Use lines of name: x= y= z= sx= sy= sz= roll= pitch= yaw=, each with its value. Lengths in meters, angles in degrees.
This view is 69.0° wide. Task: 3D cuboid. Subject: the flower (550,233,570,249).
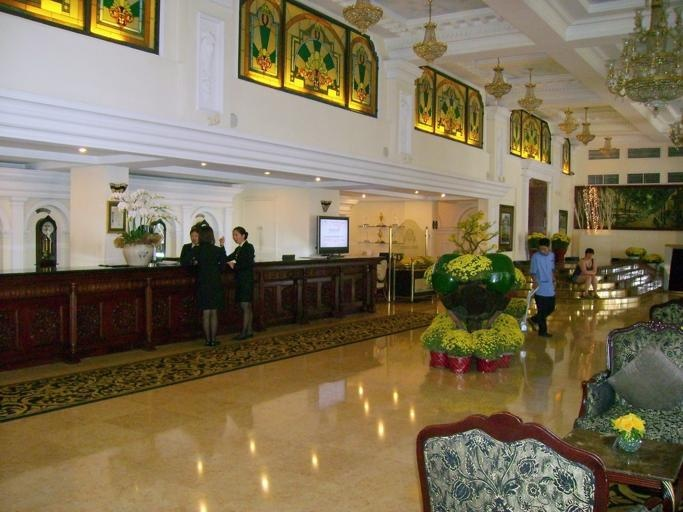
flower: x=8.080 y=-0.581 z=18.310 sx=0.605 sy=0.608 sz=0.602 roll=0 pitch=3 yaw=-23

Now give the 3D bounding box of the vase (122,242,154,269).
vase: x=-3.396 y=-0.026 z=8.287 sx=0.403 sy=0.295 sz=0.398 roll=0 pitch=0 yaw=-42

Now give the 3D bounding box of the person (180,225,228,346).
person: x=-2.348 y=0.479 z=8.507 sx=0.730 sy=2.018 sz=0.488 roll=3 pitch=4 yaw=26

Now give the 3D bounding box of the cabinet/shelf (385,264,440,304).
cabinet/shelf: x=2.168 y=0.776 z=14.686 sx=0.721 sy=1.029 sz=1.317 roll=-1 pitch=-1 yaw=39

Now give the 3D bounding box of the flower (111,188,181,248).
flower: x=-3.369 y=-0.430 z=8.568 sx=0.723 sy=0.973 sz=0.816 roll=8 pitch=-6 yaw=-15

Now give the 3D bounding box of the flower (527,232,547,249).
flower: x=6.479 y=-0.532 z=16.433 sx=0.678 sy=0.585 sz=0.721 roll=3 pitch=-2 yaw=0

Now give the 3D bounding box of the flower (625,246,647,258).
flower: x=12.770 y=-0.190 z=21.411 sx=0.612 sy=0.342 sz=0.623 roll=4 pitch=6 yaw=29

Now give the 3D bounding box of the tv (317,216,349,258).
tv: x=-0.164 y=-0.528 z=13.065 sx=1.135 sy=1.004 sz=0.243 roll=2 pitch=0 yaw=44

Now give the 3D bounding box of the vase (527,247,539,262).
vase: x=5.573 y=-0.103 z=14.396 sx=0.289 sy=0.518 sz=0.545 roll=0 pitch=1 yaw=33

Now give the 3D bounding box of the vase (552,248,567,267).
vase: x=7.476 y=0.007 z=16.953 sx=0.573 sy=0.643 sz=0.606 roll=3 pitch=5 yaw=17

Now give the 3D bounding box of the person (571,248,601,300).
person: x=7.389 y=0.461 z=14.966 sx=0.730 sy=1.490 sz=2.038 roll=3 pitch=4 yaw=27

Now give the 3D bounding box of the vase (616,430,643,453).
vase: x=1.972 y=1.262 z=3.418 sx=0.160 sy=0.183 sz=0.151 roll=-1 pitch=2 yaw=19

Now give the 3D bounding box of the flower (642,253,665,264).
flower: x=13.405 y=0.101 z=21.266 sx=0.653 sy=0.303 sz=0.514 roll=-1 pitch=2 yaw=-31
